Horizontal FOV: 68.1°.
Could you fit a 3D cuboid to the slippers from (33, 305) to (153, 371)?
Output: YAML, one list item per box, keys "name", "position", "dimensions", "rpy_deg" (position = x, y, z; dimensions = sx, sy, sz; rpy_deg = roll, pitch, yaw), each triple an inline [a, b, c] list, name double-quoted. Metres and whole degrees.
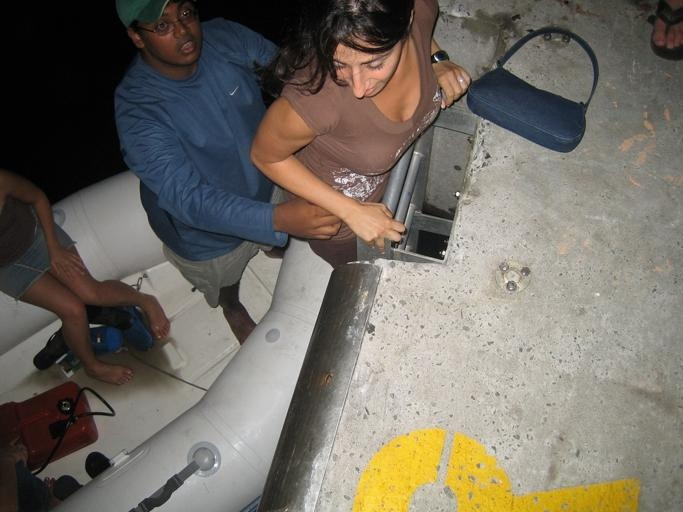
- name: "slippers"
  position: [-1.418, 0.481, 2.877]
  dimensions: [0.509, 0.446, 0.186]
  rpy_deg: [-24, 50, -21]

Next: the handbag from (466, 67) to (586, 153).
- name: "handbag"
  position: [0.718, -0.548, 2.031]
  dimensions: [0.407, 0.114, 0.276]
  rpy_deg: [28, 73, 10]
